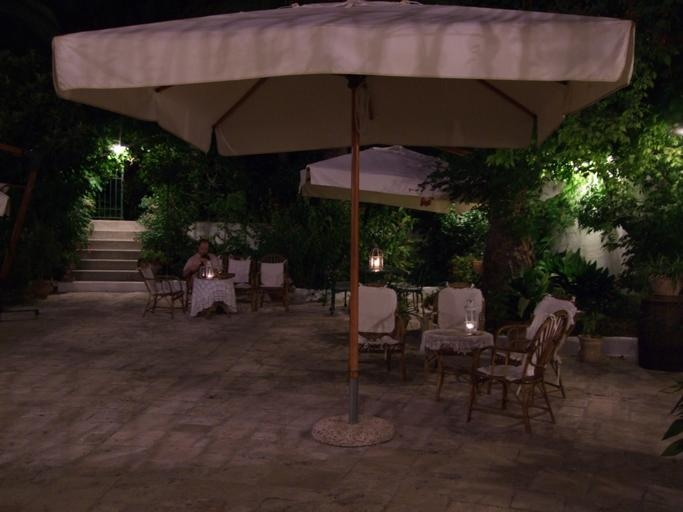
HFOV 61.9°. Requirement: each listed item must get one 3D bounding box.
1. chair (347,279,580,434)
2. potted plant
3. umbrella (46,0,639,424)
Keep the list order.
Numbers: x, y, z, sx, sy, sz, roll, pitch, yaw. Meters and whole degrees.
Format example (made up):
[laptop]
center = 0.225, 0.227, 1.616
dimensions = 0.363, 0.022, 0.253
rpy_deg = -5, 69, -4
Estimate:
[chair]
center = 1.853, 1.179, 6.690
dimensions = 0.980, 1.451, 1.554
rpy_deg = 0, 3, -41
[potted plant]
center = 4.228, 0.975, 9.741
dimensions = 0.652, 1.771, 0.678
rpy_deg = 4, -5, -23
[umbrella]
center = -0.023, 0.223, 6.011
dimensions = 4.372, 4.471, 4.336
rpy_deg = 3, 6, -2
